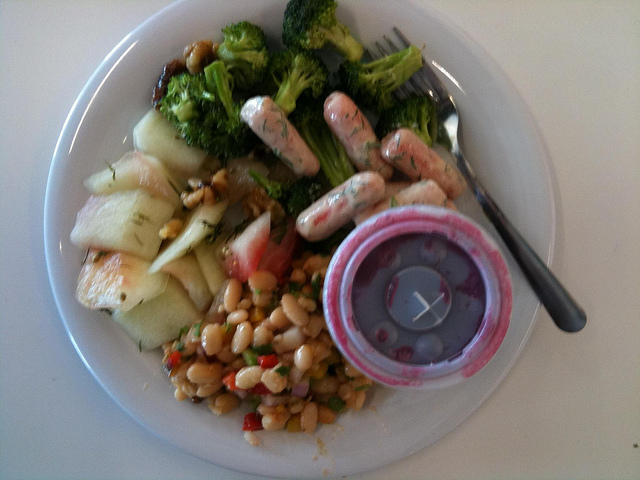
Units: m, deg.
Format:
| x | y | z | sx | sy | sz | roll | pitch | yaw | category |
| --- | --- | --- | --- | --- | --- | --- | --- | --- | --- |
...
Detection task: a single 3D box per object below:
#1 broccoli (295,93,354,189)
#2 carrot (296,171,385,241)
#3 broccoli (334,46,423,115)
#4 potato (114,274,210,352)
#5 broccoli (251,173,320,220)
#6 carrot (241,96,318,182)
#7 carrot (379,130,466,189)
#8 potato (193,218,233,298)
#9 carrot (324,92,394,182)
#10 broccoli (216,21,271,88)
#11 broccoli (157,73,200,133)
| x | y | z | sx | sy | sz | roll | pitch | yaw | category |
| --- | --- | --- | --- | --- | --- | --- | --- | --- | --- |
| 0.010 | -0.373 | 2.379 | 0.142 | 0.481 | 0.117 | -24 | 10 | -21 | broccoli |
| 0.077 | -0.126 | 2.248 | 0.378 | 0.176 | 0.134 | -36 | -6 | 12 | carrot |
| 0.241 | -0.652 | 2.360 | 0.240 | 0.232 | 0.138 | -36 | 2 | 8 | broccoli |
| -0.644 | 0.246 | 2.332 | 0.285 | 0.316 | 0.086 | -35 | 5 | 1 | potato |
| -0.133 | -0.192 | 2.266 | 0.151 | 0.210 | 0.061 | -58 | 6 | 24 | broccoli |
| -0.146 | -0.382 | 2.277 | 0.175 | 0.365 | 0.120 | -39 | 12 | 5 | carrot |
| 0.384 | -0.295 | 2.291 | 0.131 | 0.344 | 0.150 | -51 | 15 | 5 | carrot |
| -0.415 | 0.069 | 2.303 | 0.131 | 0.281 | 0.056 | -10 | 2 | 3 | potato |
| 0.140 | -0.385 | 2.302 | 0.143 | 0.447 | 0.135 | -41 | 17 | -34 | carrot |
| -0.287 | -0.727 | 2.331 | 0.196 | 0.204 | 0.209 | -47 | 35 | -8 | broccoli |
| -0.517 | -0.520 | 2.244 | 0.151 | 0.209 | 0.055 | -22 | -8 | 29 | broccoli |
